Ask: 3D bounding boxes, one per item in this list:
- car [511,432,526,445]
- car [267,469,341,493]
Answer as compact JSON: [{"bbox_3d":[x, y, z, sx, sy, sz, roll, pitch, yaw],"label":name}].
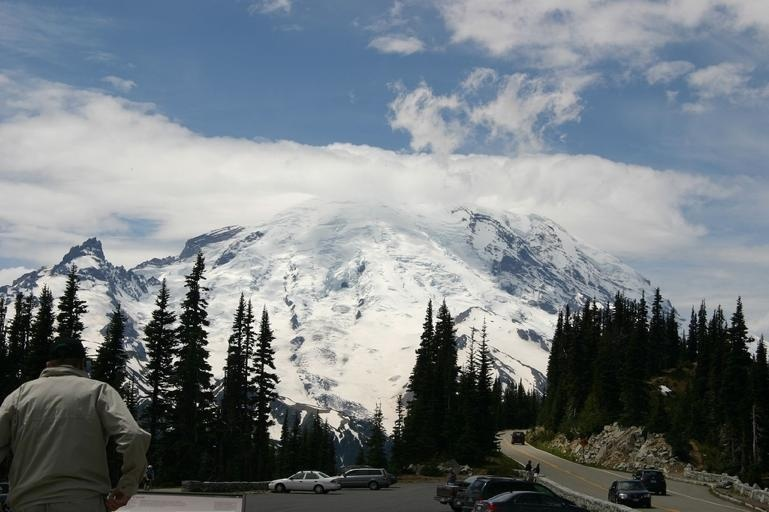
[{"bbox_3d":[30.357,41.275,224.448,2.876,2.607,4.847,-6,11,1],"label":"car"},{"bbox_3d":[-11.074,31.867,140.184,8.940,2.360,3.695,1,-14,6],"label":"car"}]
